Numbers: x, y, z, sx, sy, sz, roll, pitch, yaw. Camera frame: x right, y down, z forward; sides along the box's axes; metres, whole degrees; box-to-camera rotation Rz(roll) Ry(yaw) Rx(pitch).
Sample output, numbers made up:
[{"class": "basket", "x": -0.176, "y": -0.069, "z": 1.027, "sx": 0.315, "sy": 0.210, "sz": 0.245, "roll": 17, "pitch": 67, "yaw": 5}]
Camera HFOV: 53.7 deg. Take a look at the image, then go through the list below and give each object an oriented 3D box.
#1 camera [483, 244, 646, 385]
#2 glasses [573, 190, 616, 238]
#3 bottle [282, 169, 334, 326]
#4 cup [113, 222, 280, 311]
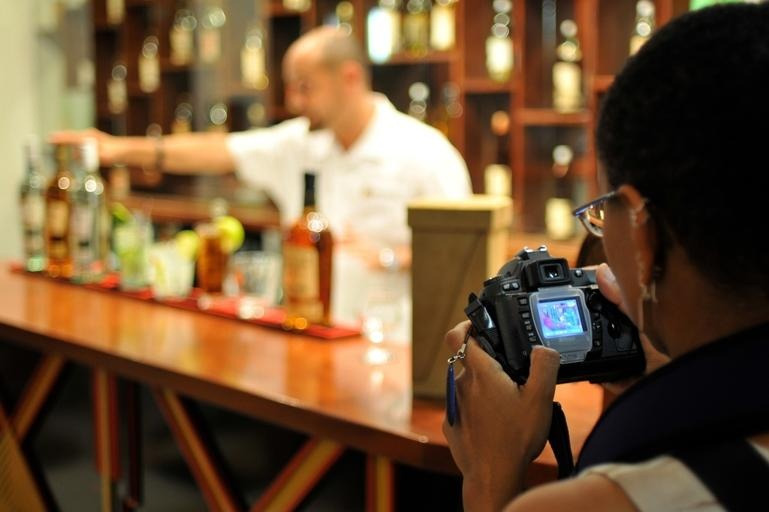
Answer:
[{"class": "camera", "x": 0.284, "y": 0.094, "z": 1.237, "sx": 0.238, "sy": 0.192, "sz": 0.181, "roll": -2, "pitch": -14, "yaw": -17}, {"class": "glasses", "x": 0.266, "y": -0.056, "z": 0.966, "sx": 0.040, "sy": 0.019, "sz": 0.049, "roll": -15, "pitch": -2, "yaw": -18}, {"class": "bottle", "x": -0.188, "y": -0.022, "z": 1.869, "sx": 0.126, "sy": 0.378, "sz": 0.124, "roll": -1, "pitch": 14, "yaw": 0}, {"class": "cup", "x": -0.488, "y": 0.000, "z": 2.236, "sx": 0.234, "sy": 0.172, "sz": 0.313, "roll": 5, "pitch": 12, "yaw": 36}]
